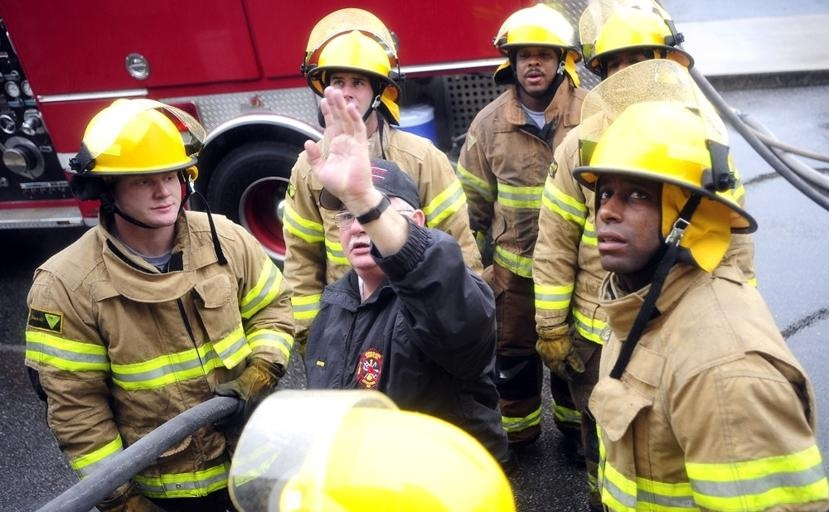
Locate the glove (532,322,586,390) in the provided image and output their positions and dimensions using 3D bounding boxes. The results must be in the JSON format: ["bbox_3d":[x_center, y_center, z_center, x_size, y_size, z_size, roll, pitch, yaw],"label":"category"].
[{"bbox_3d":[0.934,0.614,4.568,0.313,0.375,0.173,8,23,23],"label":"glove"}]

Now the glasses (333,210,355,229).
[{"bbox_3d":[-0.379,-0.228,3.812,0.120,0.046,0.113,12,-13,-41],"label":"glasses"}]

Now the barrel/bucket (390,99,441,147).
[{"bbox_3d":[0.010,-1.150,5.827,0.388,0.420,0.385,-1,21,0],"label":"barrel/bucket"}]

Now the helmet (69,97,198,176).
[{"bbox_3d":[-1.592,-0.737,4.065,0.574,0.414,0.572,-6,22,3],"label":"helmet"}]

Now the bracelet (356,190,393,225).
[{"bbox_3d":[-0.190,-0.226,3.247,0.171,0.105,0.161,-31,-10,19],"label":"bracelet"}]
